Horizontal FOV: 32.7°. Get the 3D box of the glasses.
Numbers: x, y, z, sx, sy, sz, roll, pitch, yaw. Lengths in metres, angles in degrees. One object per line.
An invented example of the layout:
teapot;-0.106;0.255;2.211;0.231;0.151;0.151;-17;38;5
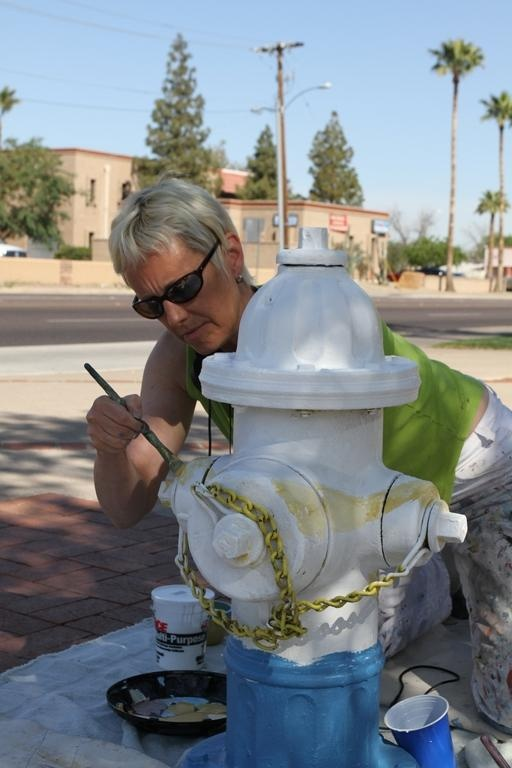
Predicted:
glasses;-0.165;-0.267;2.259;0.214;0.063;0.214;-21;19;48
